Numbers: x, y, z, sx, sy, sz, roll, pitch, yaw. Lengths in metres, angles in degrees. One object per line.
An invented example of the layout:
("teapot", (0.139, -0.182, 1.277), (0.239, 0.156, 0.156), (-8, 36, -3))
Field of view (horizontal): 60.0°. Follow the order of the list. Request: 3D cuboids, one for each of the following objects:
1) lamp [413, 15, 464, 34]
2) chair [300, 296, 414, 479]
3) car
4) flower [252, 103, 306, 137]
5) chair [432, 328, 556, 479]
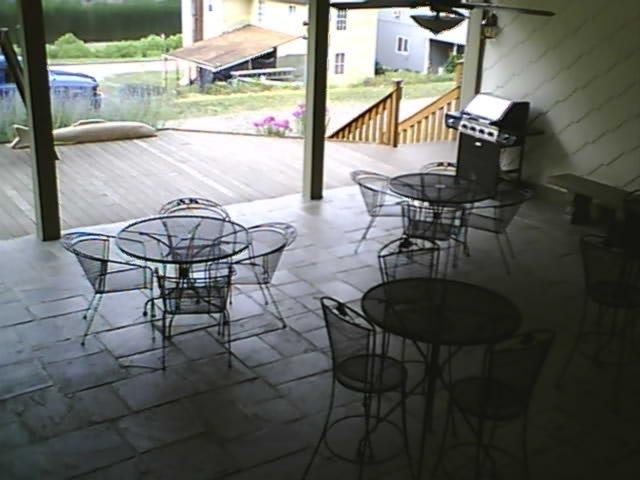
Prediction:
("lamp", (0.921, -1.686, 4.362), (0.407, 0.147, 0.244), (4, 22, 7))
("chair", (0.337, 0.924, 3.996), (0.752, 1.222, 1.109), (4, 23, 7))
("car", (-5.086, -2.703, 10.661), (2.082, 0.868, 1.095), (-12, 39, -19))
("flower", (-0.839, -2.691, 12.671), (1.290, 0.607, 1.249), (-10, 24, -27))
("chair", (1.239, 1.102, 3.926), (0.660, 1.384, 0.744), (8, 24, 15))
